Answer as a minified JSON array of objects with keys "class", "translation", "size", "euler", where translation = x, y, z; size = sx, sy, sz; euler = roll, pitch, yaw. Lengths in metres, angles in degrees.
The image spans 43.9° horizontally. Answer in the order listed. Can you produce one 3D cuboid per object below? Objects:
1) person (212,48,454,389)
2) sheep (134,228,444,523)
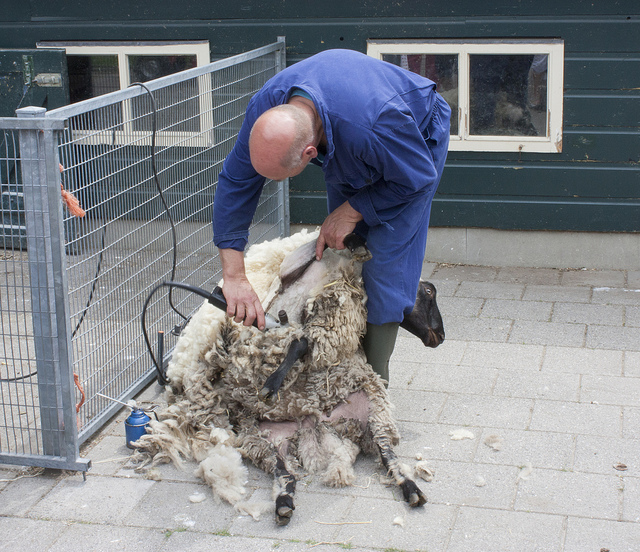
[{"class":"person","translation":[0.102,-0.214,3.808],"size":[1.211,1.685,0.718],"euler":[-3,16,-8]},{"class":"sheep","translation":[0.014,0.365,4.091],"size":[1.608,0.711,1.848],"euler":[6,25,36]}]
